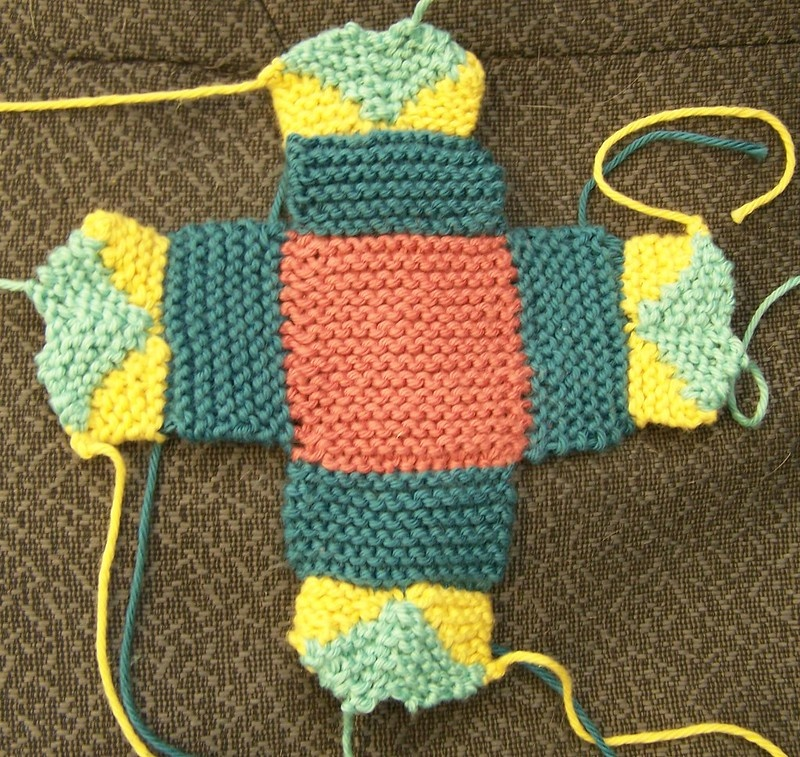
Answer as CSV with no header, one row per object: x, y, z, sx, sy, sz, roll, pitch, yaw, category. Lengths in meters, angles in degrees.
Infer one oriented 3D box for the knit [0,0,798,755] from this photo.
-0.040,0.068,1.577,1.004,0.100,0.861,10,85,1,knit
